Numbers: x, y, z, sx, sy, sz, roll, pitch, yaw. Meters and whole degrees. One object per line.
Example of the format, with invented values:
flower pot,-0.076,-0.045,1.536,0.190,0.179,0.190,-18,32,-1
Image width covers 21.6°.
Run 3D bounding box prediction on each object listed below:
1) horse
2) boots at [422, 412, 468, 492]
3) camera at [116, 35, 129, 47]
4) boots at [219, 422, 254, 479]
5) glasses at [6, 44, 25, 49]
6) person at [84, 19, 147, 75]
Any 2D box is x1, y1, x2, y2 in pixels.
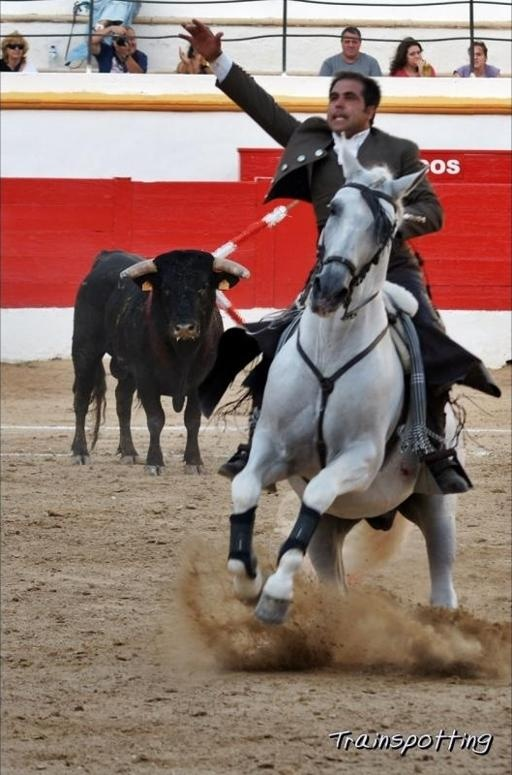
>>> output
horse,0.298,-0.009,4.337,0.603,1.553,0.967,4,8,16
boots,0.627,0.238,4.499,0.144,0.236,0.090,-25,15,12
camera,-1.198,-3.054,11.799,0.146,0.104,0.085,2,-2,6
boots,-0.045,0.228,4.634,0.072,0.146,0.222,27,26,24
glasses,-2.056,-2.899,11.405,0.125,0.043,0.185,3,8,9
person,-1.242,-2.996,11.875,0.553,0.819,0.477,-1,6,-5
